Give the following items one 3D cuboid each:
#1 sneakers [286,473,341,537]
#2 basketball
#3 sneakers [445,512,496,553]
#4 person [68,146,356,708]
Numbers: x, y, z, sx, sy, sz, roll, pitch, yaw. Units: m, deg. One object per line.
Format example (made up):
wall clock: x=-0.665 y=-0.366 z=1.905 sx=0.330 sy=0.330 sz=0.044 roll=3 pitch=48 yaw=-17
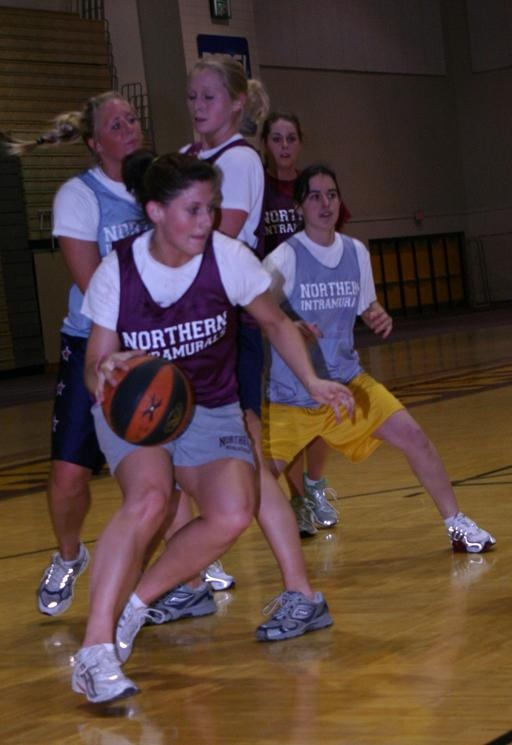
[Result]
sneakers: x=0.264 y=0.640 z=2.782 sx=0.118 sy=0.137 sz=0.336 roll=0 pitch=2 yaw=-12
basketball: x=-0.253 y=0.063 z=1.415 sx=0.214 sy=0.216 sz=0.133 roll=-4 pitch=-9 yaw=-26
sneakers: x=0.754 y=0.569 z=2.223 sx=0.098 sy=0.101 sz=0.218 roll=-32 pitch=24 yaw=-26
person: x=-0.162 y=0.058 z=1.558 sx=0.772 sy=1.291 sz=0.418 roll=-3 pitch=-9 yaw=-28
